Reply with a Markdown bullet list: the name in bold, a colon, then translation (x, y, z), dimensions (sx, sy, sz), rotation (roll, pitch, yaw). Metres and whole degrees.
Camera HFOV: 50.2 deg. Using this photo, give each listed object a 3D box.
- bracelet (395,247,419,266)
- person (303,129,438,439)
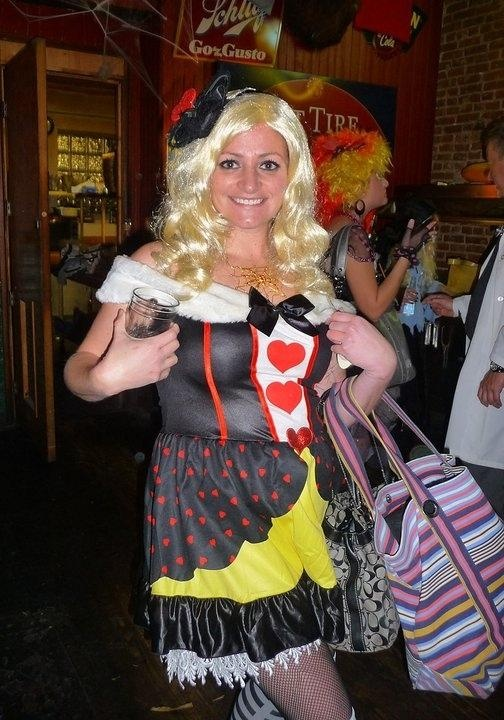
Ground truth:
- **bracelet**: translation (0.691, -0.473, 2.452), dimensions (0.096, 0.050, 0.073), rotation (-10, 56, -49)
- **person**: translation (0.424, -0.335, 2.531), dimensions (0.545, 1.342, 0.532), rotation (1, 20, -6)
